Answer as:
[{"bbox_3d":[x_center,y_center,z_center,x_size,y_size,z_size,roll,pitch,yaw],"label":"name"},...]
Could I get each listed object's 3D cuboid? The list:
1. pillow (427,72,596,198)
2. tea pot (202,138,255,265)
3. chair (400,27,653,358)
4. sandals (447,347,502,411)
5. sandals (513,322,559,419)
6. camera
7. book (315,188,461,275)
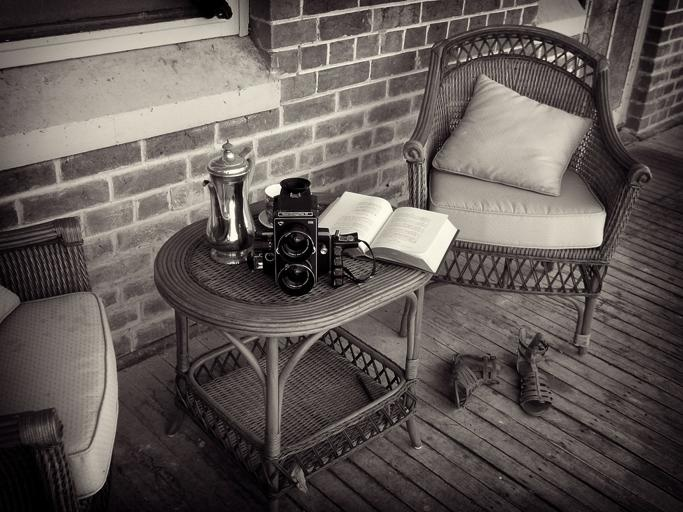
[{"bbox_3d":[0.816,-0.546,2.612,0.632,0.512,0.533,27,37,37],"label":"pillow"},{"bbox_3d":[-0.367,-0.149,1.712,0.163,0.399,0.164,7,29,-4],"label":"tea pot"},{"bbox_3d":[0.773,-0.344,2.621,0.921,1.231,0.961,4,34,4],"label":"chair"},{"bbox_3d":[0.551,0.493,2.273,0.205,0.100,0.327,4,27,12],"label":"sandals"},{"bbox_3d":[0.805,0.452,2.281,0.153,0.192,0.405,6,27,16],"label":"sandals"},{"bbox_3d":[-0.120,-0.056,1.665,0.328,0.276,0.279,24,34,39],"label":"camera"},{"bbox_3d":[0.202,-0.167,2.001,0.545,0.232,0.581,10,29,11],"label":"book"}]
